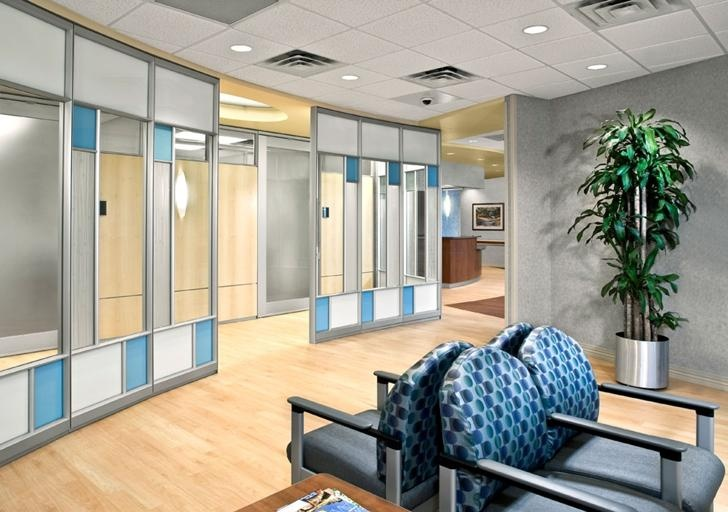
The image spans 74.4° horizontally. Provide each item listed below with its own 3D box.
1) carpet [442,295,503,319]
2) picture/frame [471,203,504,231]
[{"bbox_3d":[2.271,0.988,9.528,1.045,0.123,2.114,2,8,18],"label":"carpet"},{"bbox_3d":[4.508,-1.453,17.294,0.085,0.984,1.277,0,1,-42],"label":"picture/frame"}]
